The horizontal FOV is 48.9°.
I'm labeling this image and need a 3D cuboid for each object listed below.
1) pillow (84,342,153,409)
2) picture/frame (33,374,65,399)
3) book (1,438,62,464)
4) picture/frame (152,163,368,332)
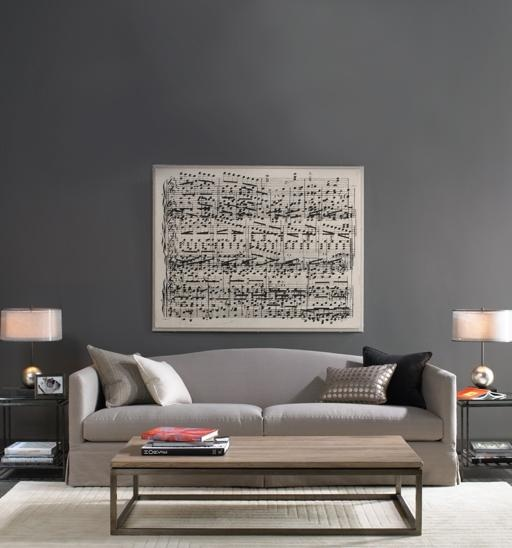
[{"bbox_3d":[-0.882,0.644,3.559,0.394,0.375,0.119,5,-37,-48],"label":"pillow"},{"bbox_3d":[-1.323,0.721,3.596,0.172,0.112,0.021,0,-7,-2],"label":"picture/frame"},{"bbox_3d":[-1.408,1.109,3.496,0.345,0.104,0.158,0,-1,-2],"label":"book"},{"bbox_3d":[-0.029,-0.169,4.195,1.411,0.958,0.026,0,1,2],"label":"picture/frame"}]
